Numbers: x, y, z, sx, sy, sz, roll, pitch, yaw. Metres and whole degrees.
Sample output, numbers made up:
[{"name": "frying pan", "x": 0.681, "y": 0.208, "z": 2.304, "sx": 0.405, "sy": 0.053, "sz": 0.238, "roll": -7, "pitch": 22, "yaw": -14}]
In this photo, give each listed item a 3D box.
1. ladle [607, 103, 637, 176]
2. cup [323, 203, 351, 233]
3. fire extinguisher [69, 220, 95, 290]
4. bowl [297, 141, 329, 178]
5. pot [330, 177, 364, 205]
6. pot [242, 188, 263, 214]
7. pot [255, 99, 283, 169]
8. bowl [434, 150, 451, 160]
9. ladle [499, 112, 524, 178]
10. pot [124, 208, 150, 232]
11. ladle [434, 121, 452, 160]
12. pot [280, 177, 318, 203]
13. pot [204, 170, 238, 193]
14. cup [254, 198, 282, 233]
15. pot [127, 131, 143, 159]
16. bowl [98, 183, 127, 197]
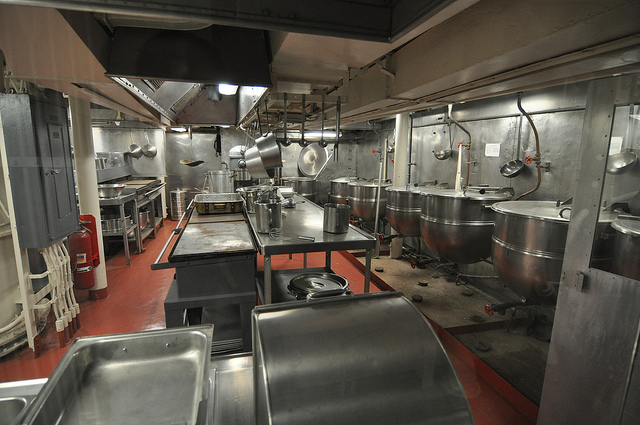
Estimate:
[{"name": "ladle", "x": 1.802, "y": -0.414, "z": 2.361, "sx": 0.102, "sy": 0.368, "sz": 0.138, "roll": 23, "pitch": 4, "yaw": 44}, {"name": "cup", "x": 0.138, "y": 0.059, "z": 3.534, "sx": 0.242, "sy": 0.228, "sz": 0.308, "roll": 4, "pitch": 13, "yaw": 7}, {"name": "fire extinguisher", "x": -2.606, "y": 0.479, "z": 4.415, "sx": 0.233, "sy": 0.782, "sz": 0.222, "roll": -9, "pitch": 11, "yaw": -38}, {"name": "bowl", "x": -0.184, "y": -1.218, "z": 9.329, "sx": 1.023, "sy": 0.963, "sz": 0.236, "roll": -2, "pitch": 14, "yaw": -21}, {"name": "pot", "x": 0.408, "y": -0.389, "z": 7.558, "sx": 0.248, "sy": 0.464, "sz": 0.693, "roll": -5, "pitch": 8, "yaw": -19}, {"name": "pot", "x": -0.759, "y": -0.150, "z": 4.399, "sx": 0.298, "sy": 0.314, "sz": 0.298, "roll": 1, "pitch": 9, "yaw": 0}, {"name": "pot", "x": -0.428, "y": -0.504, "z": 3.282, "sx": 0.197, "sy": 0.300, "sz": 0.158, "roll": -3, "pitch": 8, "yaw": -6}, {"name": "bowl", "x": 1.717, "y": -0.814, "z": 5.691, "sx": 0.057, "sy": 0.137, "sz": 0.348, "roll": -4, "pitch": 8, "yaw": -17}, {"name": "ladle", "x": 2.082, "y": -0.713, "z": 4.340, "sx": 0.105, "sy": 0.684, "sz": 0.334, "roll": -3, "pitch": 8, "yaw": -8}, {"name": "pot", "x": -3.093, "y": 0.132, "z": 6.795, "sx": 0.378, "sy": 0.263, "sz": 0.329, "roll": -2, "pitch": 5, "yaw": -22}, {"name": "ladle", "x": 1.719, "y": -0.997, "z": 5.647, "sx": 0.075, "sy": 0.514, "sz": 0.353, "roll": -4, "pitch": 8, "yaw": -14}, {"name": "pot", "x": -0.425, "y": -0.432, "z": 9.033, "sx": 0.820, "sy": 0.578, "sz": 0.792, "roll": 0, "pitch": 9, "yaw": 0}, {"name": "pot", "x": -1.257, "y": -0.394, "z": 5.078, "sx": 0.483, "sy": 0.351, "sz": 0.289, "roll": 0, "pitch": 6, "yaw": -10}, {"name": "cup", "x": -0.453, "y": 0.040, "z": 3.532, "sx": 0.256, "sy": 0.241, "sz": 0.328, "roll": -2, "pitch": 13, "yaw": -6}, {"name": "pot", "x": -3.830, "y": -1.372, "z": 8.284, "sx": 0.270, "sy": 0.544, "sz": 0.132, "roll": -6, "pitch": 9, "yaw": -24}, {"name": "bowl", "x": -2.849, "y": -0.296, "z": 5.538, "sx": 0.195, "sy": 0.171, "sz": 0.409, "roll": 1, "pitch": 8, "yaw": 18}]
